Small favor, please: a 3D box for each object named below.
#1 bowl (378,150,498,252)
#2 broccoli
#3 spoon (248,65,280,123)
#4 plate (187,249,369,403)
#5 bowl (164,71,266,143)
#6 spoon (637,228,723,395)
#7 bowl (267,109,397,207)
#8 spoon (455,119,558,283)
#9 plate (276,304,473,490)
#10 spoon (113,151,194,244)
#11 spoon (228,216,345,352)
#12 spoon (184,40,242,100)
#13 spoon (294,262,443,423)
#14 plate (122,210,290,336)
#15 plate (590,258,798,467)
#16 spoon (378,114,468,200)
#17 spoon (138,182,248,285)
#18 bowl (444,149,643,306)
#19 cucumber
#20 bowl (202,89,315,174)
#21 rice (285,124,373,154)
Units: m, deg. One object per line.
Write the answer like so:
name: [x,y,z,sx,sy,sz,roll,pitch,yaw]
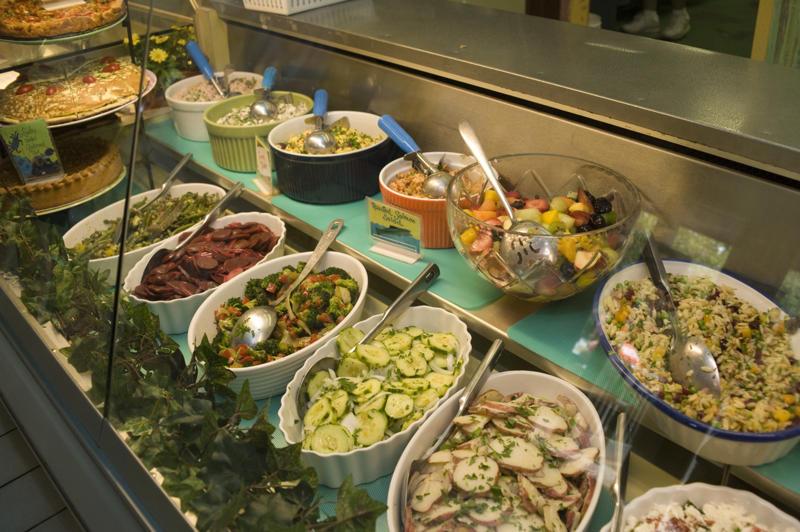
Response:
bowl: [0.053,-0.238,1.827,0.261,0.136,0.317,-1,37,1]
broccoli: [-0.295,0.127,1.619,0.307,0.065,0.222,-29,49,-22]
spoon: [-0.460,-0.582,2.078,0.077,0.076,0.186,8,76,-3]
plate: [-0.292,0.184,1.669,0.444,0.172,0.331,-25,46,-22]
bowl: [-0.628,-0.550,2.037,0.243,0.105,0.252,0,30,0]
spoon: [0.505,0.083,1.117,0.059,0.038,0.278,-22,61,21]
bowl: [-0.233,-0.320,1.963,0.433,0.144,0.264,-16,38,-24]
spoon: [0.257,-0.211,1.496,0.123,0.074,0.506,-14,59,-1]
plate: [-0.025,0.304,1.432,0.482,0.127,0.308,-30,47,-31]
spoon: [-0.672,-0.201,1.683,0.050,0.041,0.282,15,53,4]
spoon: [-0.285,0.034,1.714,0.112,0.059,0.535,26,52,12]
spoon: [-0.637,-0.633,2.057,0.044,0.256,0.068,-27,12,24]
spoon: [-0.066,0.159,1.605,0.156,0.090,0.648,30,67,24]
plate: [-0.531,-0.018,1.706,0.236,0.094,0.407,26,40,24]
plate: [0.517,0.213,1.207,0.323,0.161,0.379,-30,61,-13]
spoon: [0.049,-0.337,1.922,0.114,0.119,0.413,-15,44,-22]
spoon: [-0.612,-0.144,1.884,0.074,0.050,0.384,-1,31,27]
bowl: [0.346,-0.113,1.475,0.402,0.231,0.398,-3,39,2]
cucumber: [-0.041,0.286,1.432,0.321,0.106,0.226,-29,42,-25]
bowl: [-0.514,-0.460,2.061,0.280,0.125,0.316,2,33,2]
rice: [-0.224,-0.402,1.974,0.174,0.056,0.154,-13,25,-28]
